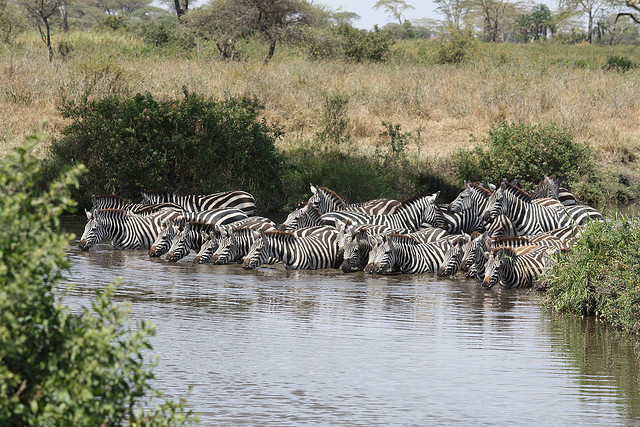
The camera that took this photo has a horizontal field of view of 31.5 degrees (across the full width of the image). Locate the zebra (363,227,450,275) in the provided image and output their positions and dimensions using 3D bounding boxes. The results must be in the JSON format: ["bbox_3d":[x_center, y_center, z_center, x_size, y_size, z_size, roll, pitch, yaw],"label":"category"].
[{"bbox_3d":[2.034,0.925,26.316,1.736,1.016,0.468,-19,13,-28],"label":"zebra"}]

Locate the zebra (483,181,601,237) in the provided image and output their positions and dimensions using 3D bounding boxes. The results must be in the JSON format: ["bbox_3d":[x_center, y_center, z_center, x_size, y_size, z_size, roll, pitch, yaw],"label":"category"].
[{"bbox_3d":[5.272,-0.125,27.555,2.564,1.306,0.999,-1,5,-14],"label":"zebra"}]

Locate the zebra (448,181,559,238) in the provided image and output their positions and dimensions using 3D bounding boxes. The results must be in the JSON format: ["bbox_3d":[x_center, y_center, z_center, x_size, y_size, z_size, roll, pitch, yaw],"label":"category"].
[{"bbox_3d":[4.371,-0.113,27.962,2.313,1.287,1.741,1,6,6],"label":"zebra"}]

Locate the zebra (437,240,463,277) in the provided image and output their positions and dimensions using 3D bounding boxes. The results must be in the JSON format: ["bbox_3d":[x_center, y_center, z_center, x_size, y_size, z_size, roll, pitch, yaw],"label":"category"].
[{"bbox_3d":[3.043,1.097,25.866,0.325,0.776,1.066,14,37,27],"label":"zebra"}]

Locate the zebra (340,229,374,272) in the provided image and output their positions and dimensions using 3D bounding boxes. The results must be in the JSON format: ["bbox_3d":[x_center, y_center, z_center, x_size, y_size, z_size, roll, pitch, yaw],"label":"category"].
[{"bbox_3d":[0.896,0.849,26.309,0.746,0.960,0.345,-4,6,-35],"label":"zebra"}]

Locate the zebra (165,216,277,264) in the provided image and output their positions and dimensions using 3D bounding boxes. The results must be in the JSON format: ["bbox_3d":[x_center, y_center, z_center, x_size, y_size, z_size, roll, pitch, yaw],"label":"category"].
[{"bbox_3d":[-2.393,0.677,26.988,1.951,1.056,0.534,-15,13,-28],"label":"zebra"}]
